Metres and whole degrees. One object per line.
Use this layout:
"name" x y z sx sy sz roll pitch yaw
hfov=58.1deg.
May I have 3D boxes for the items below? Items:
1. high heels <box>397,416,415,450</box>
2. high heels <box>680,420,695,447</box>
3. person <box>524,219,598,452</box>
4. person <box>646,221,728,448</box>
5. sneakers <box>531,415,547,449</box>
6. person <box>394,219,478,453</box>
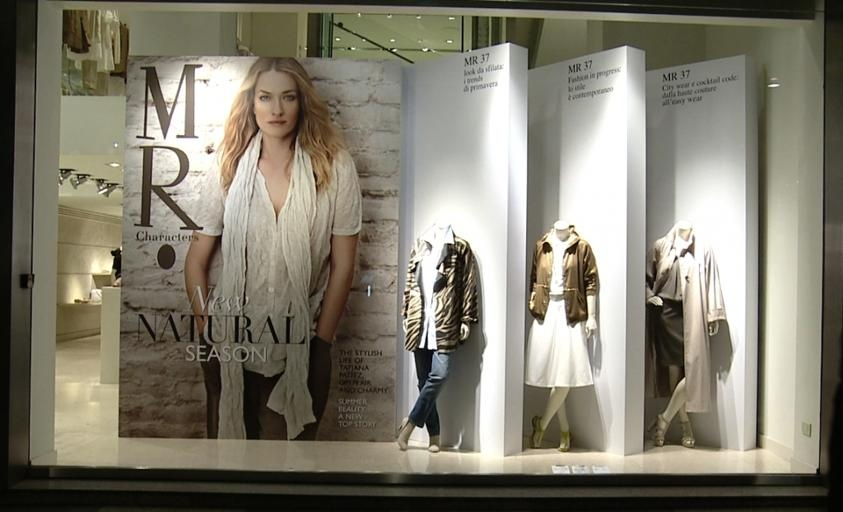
"high heels" -0.176 1.847 7.820 0.172 0.415 0.128 3 24 -15
"high heels" 2.861 1.898 8.124 0.148 0.280 0.183 1 1 19
"person" 1.470 0.843 7.969 0.744 2.396 0.341 1 1 12
"person" 2.799 0.833 8.106 0.792 2.388 0.304 1 1 20
"sneakers" 1.232 1.854 8.039 0.122 0.352 0.136 2 1 -19
"person" 0.168 0.838 7.813 0.786 2.340 0.327 1 1 1
